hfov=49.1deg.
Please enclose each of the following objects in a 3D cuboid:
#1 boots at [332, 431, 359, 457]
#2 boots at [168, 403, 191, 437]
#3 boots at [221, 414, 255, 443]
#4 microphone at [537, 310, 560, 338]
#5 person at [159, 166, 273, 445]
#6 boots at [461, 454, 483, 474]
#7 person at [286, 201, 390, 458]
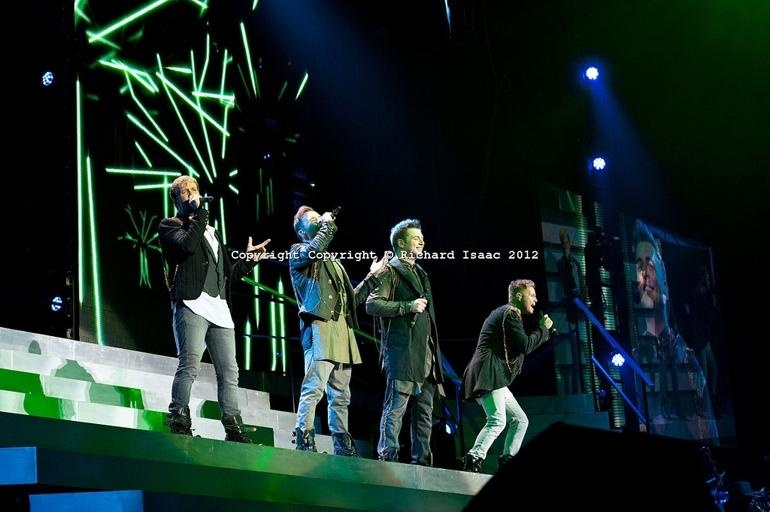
[{"bbox_3d":[-0.383,1.793,8.153,0.200,0.323,0.279,-18,-15,11],"label":"boots"},{"bbox_3d":[-1.836,1.488,7.542,0.237,0.235,0.201,-10,-13,21],"label":"boots"},{"bbox_3d":[-1.349,1.586,7.766,0.291,0.238,0.181,-8,-16,36],"label":"boots"},{"bbox_3d":[1.950,0.819,10.057,0.216,0.224,0.662,17,-2,21],"label":"microphone"},{"bbox_3d":[-1.702,0.472,7.977,0.961,2.475,0.516,6,-14,-19],"label":"person"},{"bbox_3d":[0.850,2.108,8.551,0.222,0.198,0.184,-7,-11,20],"label":"boots"},{"bbox_3d":[-0.540,0.693,8.373,0.831,2.486,0.498,9,-15,-28],"label":"person"}]
